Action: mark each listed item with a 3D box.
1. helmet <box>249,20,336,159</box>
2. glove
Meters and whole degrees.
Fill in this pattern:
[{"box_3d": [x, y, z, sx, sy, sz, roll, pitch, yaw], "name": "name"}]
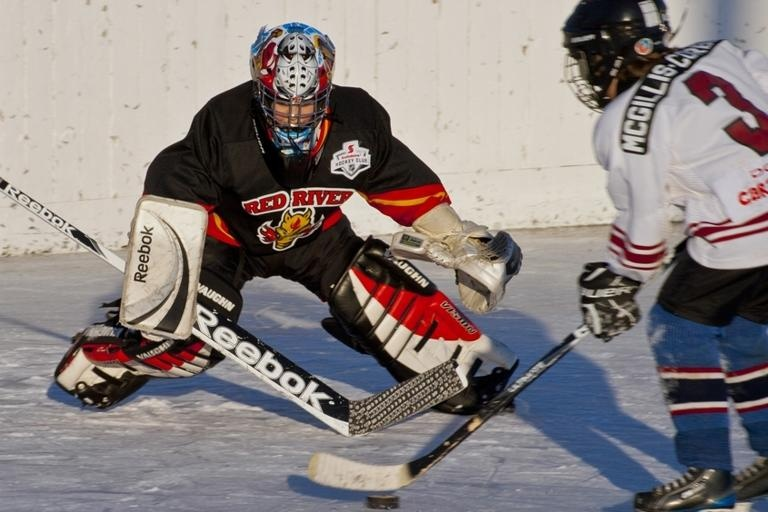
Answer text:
[{"box_3d": [-0.316, -0.596, 4.056, 0.281, 0.403, 0.385, -4, 32, -3], "name": "helmet"}, {"box_3d": [0.730, 0.149, 3.711, 0.177, 0.247, 0.242, -4, -6, -3], "name": "glove"}]
